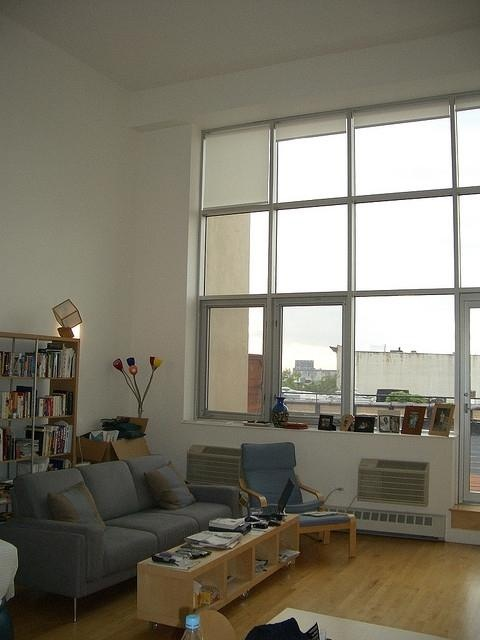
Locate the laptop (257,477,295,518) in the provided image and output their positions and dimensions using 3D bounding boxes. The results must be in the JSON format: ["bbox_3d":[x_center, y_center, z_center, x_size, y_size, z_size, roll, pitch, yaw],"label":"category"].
[{"bbox_3d":[0.289,1.337,4.077,0.250,0.304,0.243,2,-3,-24],"label":"laptop"}]

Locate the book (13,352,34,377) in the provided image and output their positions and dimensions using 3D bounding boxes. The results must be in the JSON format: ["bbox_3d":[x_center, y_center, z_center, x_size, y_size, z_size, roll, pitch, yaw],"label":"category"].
[{"bbox_3d":[-1.910,0.407,4.801,0.115,0.207,0.251,1,-3,6],"label":"book"}]

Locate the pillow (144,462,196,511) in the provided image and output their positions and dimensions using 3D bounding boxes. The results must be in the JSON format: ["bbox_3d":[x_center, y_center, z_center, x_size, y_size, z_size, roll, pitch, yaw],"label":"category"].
[{"bbox_3d":[-0.599,1.414,4.578,0.279,0.344,0.488,-10,-12,26],"label":"pillow"}]

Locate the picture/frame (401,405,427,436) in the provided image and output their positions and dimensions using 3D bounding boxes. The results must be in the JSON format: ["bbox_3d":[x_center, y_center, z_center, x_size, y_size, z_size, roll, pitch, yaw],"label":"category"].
[{"bbox_3d":[1.712,0.989,5.322,0.213,0.267,0.274,0,-3,25],"label":"picture/frame"}]

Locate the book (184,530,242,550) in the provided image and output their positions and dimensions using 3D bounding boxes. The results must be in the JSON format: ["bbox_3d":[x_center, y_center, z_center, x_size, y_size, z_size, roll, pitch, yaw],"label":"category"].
[{"bbox_3d":[-0.163,1.353,3.298,0.171,0.041,0.172,1,-6,21],"label":"book"}]

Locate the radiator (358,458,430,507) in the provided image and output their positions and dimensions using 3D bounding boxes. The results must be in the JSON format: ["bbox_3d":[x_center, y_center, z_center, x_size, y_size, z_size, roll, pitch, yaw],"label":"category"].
[{"bbox_3d":[1.469,1.548,5.153,0.641,0.401,0.147,0,-3,25],"label":"radiator"}]

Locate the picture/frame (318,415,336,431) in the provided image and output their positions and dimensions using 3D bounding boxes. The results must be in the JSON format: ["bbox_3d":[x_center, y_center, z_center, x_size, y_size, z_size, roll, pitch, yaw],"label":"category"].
[{"bbox_3d":[0.913,1.081,5.672,0.182,0.149,0.146,0,-3,20],"label":"picture/frame"}]

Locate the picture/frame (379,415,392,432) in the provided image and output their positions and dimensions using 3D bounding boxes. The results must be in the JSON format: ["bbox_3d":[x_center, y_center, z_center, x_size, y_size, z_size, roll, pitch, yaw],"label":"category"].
[{"bbox_3d":[1.464,1.049,5.404,0.155,0.210,0.022,-3,-22,23],"label":"picture/frame"}]

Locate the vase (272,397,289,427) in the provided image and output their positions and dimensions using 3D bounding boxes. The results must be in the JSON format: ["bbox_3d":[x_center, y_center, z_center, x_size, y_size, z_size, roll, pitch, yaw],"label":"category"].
[{"bbox_3d":[0.431,0.996,5.807,0.155,0.307,0.157,1,-3,2],"label":"vase"}]

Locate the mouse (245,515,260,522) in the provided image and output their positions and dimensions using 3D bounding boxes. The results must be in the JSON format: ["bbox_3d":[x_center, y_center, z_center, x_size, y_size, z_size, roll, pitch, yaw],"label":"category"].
[{"bbox_3d":[0.094,1.454,3.934,0.056,0.026,0.078,2,-7,8],"label":"mouse"}]

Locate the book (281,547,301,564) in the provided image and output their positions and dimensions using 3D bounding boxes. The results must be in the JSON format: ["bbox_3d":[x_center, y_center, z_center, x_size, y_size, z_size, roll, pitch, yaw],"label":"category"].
[{"bbox_3d":[0.380,1.780,4.006,0.161,0.040,0.163,1,1,0],"label":"book"}]

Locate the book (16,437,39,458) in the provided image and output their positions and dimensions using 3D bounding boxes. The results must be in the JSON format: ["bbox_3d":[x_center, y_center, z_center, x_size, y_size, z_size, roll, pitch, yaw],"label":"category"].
[{"bbox_3d":[-1.886,1.138,4.754,0.149,0.097,0.200,-1,-3,-12],"label":"book"}]

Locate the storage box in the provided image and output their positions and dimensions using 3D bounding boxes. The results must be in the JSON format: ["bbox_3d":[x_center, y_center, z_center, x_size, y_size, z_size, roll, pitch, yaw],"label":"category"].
[{"bbox_3d":[-1.332,1.313,5.773,0.519,0.342,0.531,-5,-9,36],"label":"storage box"}]

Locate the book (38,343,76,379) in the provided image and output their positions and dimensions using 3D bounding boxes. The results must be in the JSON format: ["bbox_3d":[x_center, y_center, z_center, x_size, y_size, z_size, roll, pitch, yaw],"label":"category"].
[{"bbox_3d":[-1.766,0.407,5.168,0.144,0.322,0.345,-1,-4,26],"label":"book"}]
